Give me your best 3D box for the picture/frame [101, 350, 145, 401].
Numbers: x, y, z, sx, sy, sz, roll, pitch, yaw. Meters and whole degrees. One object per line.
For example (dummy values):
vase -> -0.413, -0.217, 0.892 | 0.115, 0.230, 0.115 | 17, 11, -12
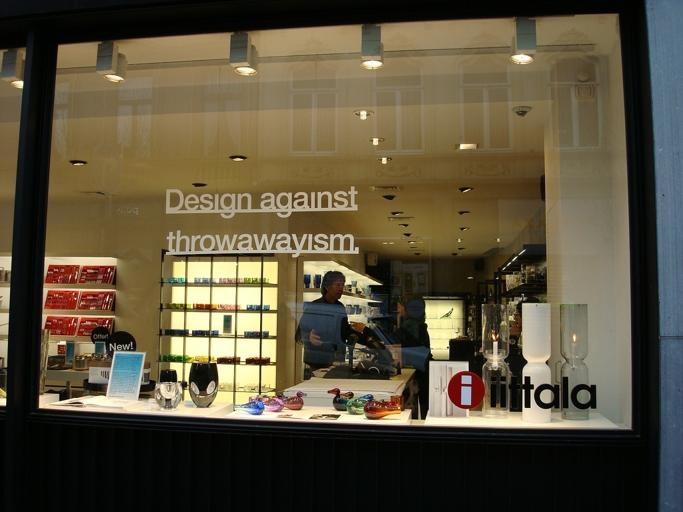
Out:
picture/frame -> -1.292, 0.710, 4.350 | 0.206, 0.290, 0.015 | 10, -2, -41

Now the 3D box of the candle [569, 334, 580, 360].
candle -> 1.266, 0.486, 3.972 | 0.026, 0.127, 0.041 | -2, -9, 20

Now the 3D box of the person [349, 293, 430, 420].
person -> 0.279, 0.611, 4.245 | 0.542, 0.819, 0.212 | 5, -42, 14

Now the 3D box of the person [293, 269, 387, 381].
person -> -0.022, 0.496, 4.324 | 0.463, 0.790, 0.397 | 0, 0, -10
